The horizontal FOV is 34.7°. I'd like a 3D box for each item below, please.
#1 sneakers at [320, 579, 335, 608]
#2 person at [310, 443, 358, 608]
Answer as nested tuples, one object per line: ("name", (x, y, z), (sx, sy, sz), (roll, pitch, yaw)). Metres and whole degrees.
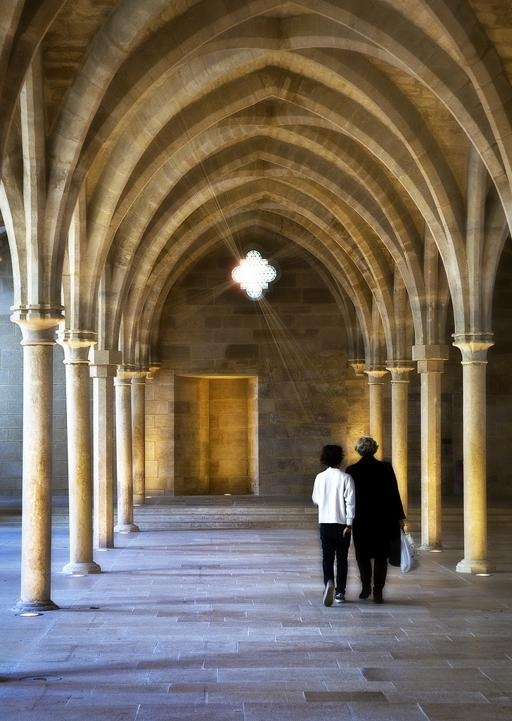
("sneakers", (0.720, 2.356, 8.174), (0.108, 0.270, 0.121), (3, 12, -8))
("person", (0.793, 1.688, 8.401), (0.420, 1.628, 0.843), (0, -5, 5))
